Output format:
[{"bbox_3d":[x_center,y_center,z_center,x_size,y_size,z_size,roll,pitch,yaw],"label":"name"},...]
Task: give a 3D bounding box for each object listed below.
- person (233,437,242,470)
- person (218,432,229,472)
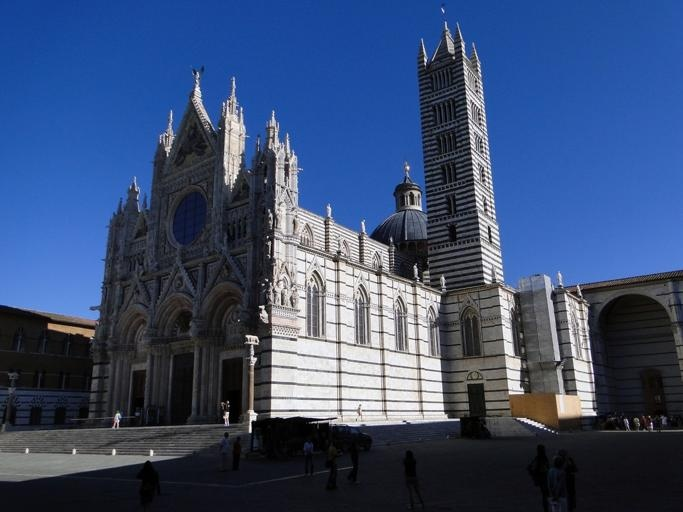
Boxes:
[{"bbox_3d":[-4.505,8.371,23.351,0.329,1.352,1.638,2,-19,-12],"label":"person"},{"bbox_3d":[-4.993,8.297,23.387,0.367,1.515,2.261,2,-19,-12],"label":"person"}]
